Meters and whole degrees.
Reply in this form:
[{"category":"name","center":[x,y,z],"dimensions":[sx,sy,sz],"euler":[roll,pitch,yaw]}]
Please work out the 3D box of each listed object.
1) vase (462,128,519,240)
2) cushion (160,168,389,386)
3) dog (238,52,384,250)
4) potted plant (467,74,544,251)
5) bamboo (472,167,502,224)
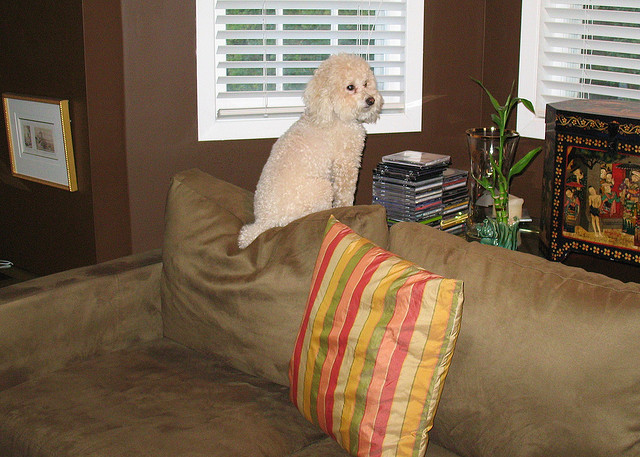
[{"category":"vase","center":[0.804,-0.204,2.670],"dimensions":[0.239,0.528,0.243],"euler":[-4,13,-7]},{"category":"cushion","center":[-0.253,0.246,2.272],"dimensions":[0.922,0.703,0.340],"euler":[19,30,21]},{"category":"dog","center":[-0.056,-0.369,2.335],"dimensions":[0.452,0.843,0.517],"euler":[-4,22,-14]},{"category":"potted plant","center":[0.783,-0.231,2.506],"dimensions":[0.266,0.689,0.290],"euler":[-20,23,-25]},{"category":"bamboo","center":[0.762,-0.147,2.542],"dimensions":[0.095,0.215,0.120],"euler":[-19,19,-15]}]
